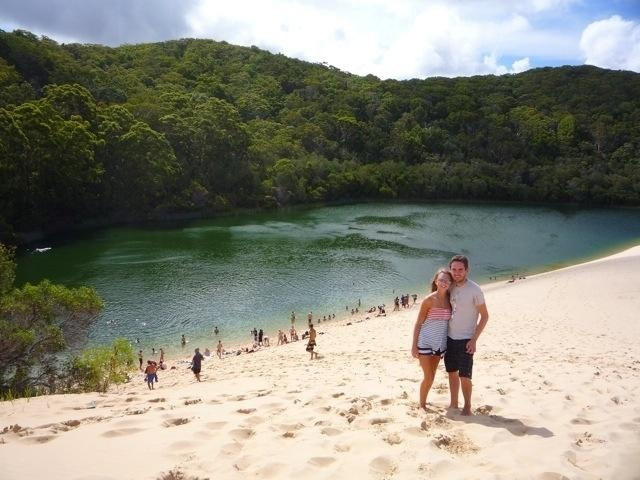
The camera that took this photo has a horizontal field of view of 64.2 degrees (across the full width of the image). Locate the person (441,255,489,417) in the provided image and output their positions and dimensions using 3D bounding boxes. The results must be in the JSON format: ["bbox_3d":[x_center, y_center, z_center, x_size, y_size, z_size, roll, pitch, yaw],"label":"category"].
[{"bbox_3d":[3.609,2.352,12.803,0.975,3.911,0.609,-1,5,13],"label":"person"}]
